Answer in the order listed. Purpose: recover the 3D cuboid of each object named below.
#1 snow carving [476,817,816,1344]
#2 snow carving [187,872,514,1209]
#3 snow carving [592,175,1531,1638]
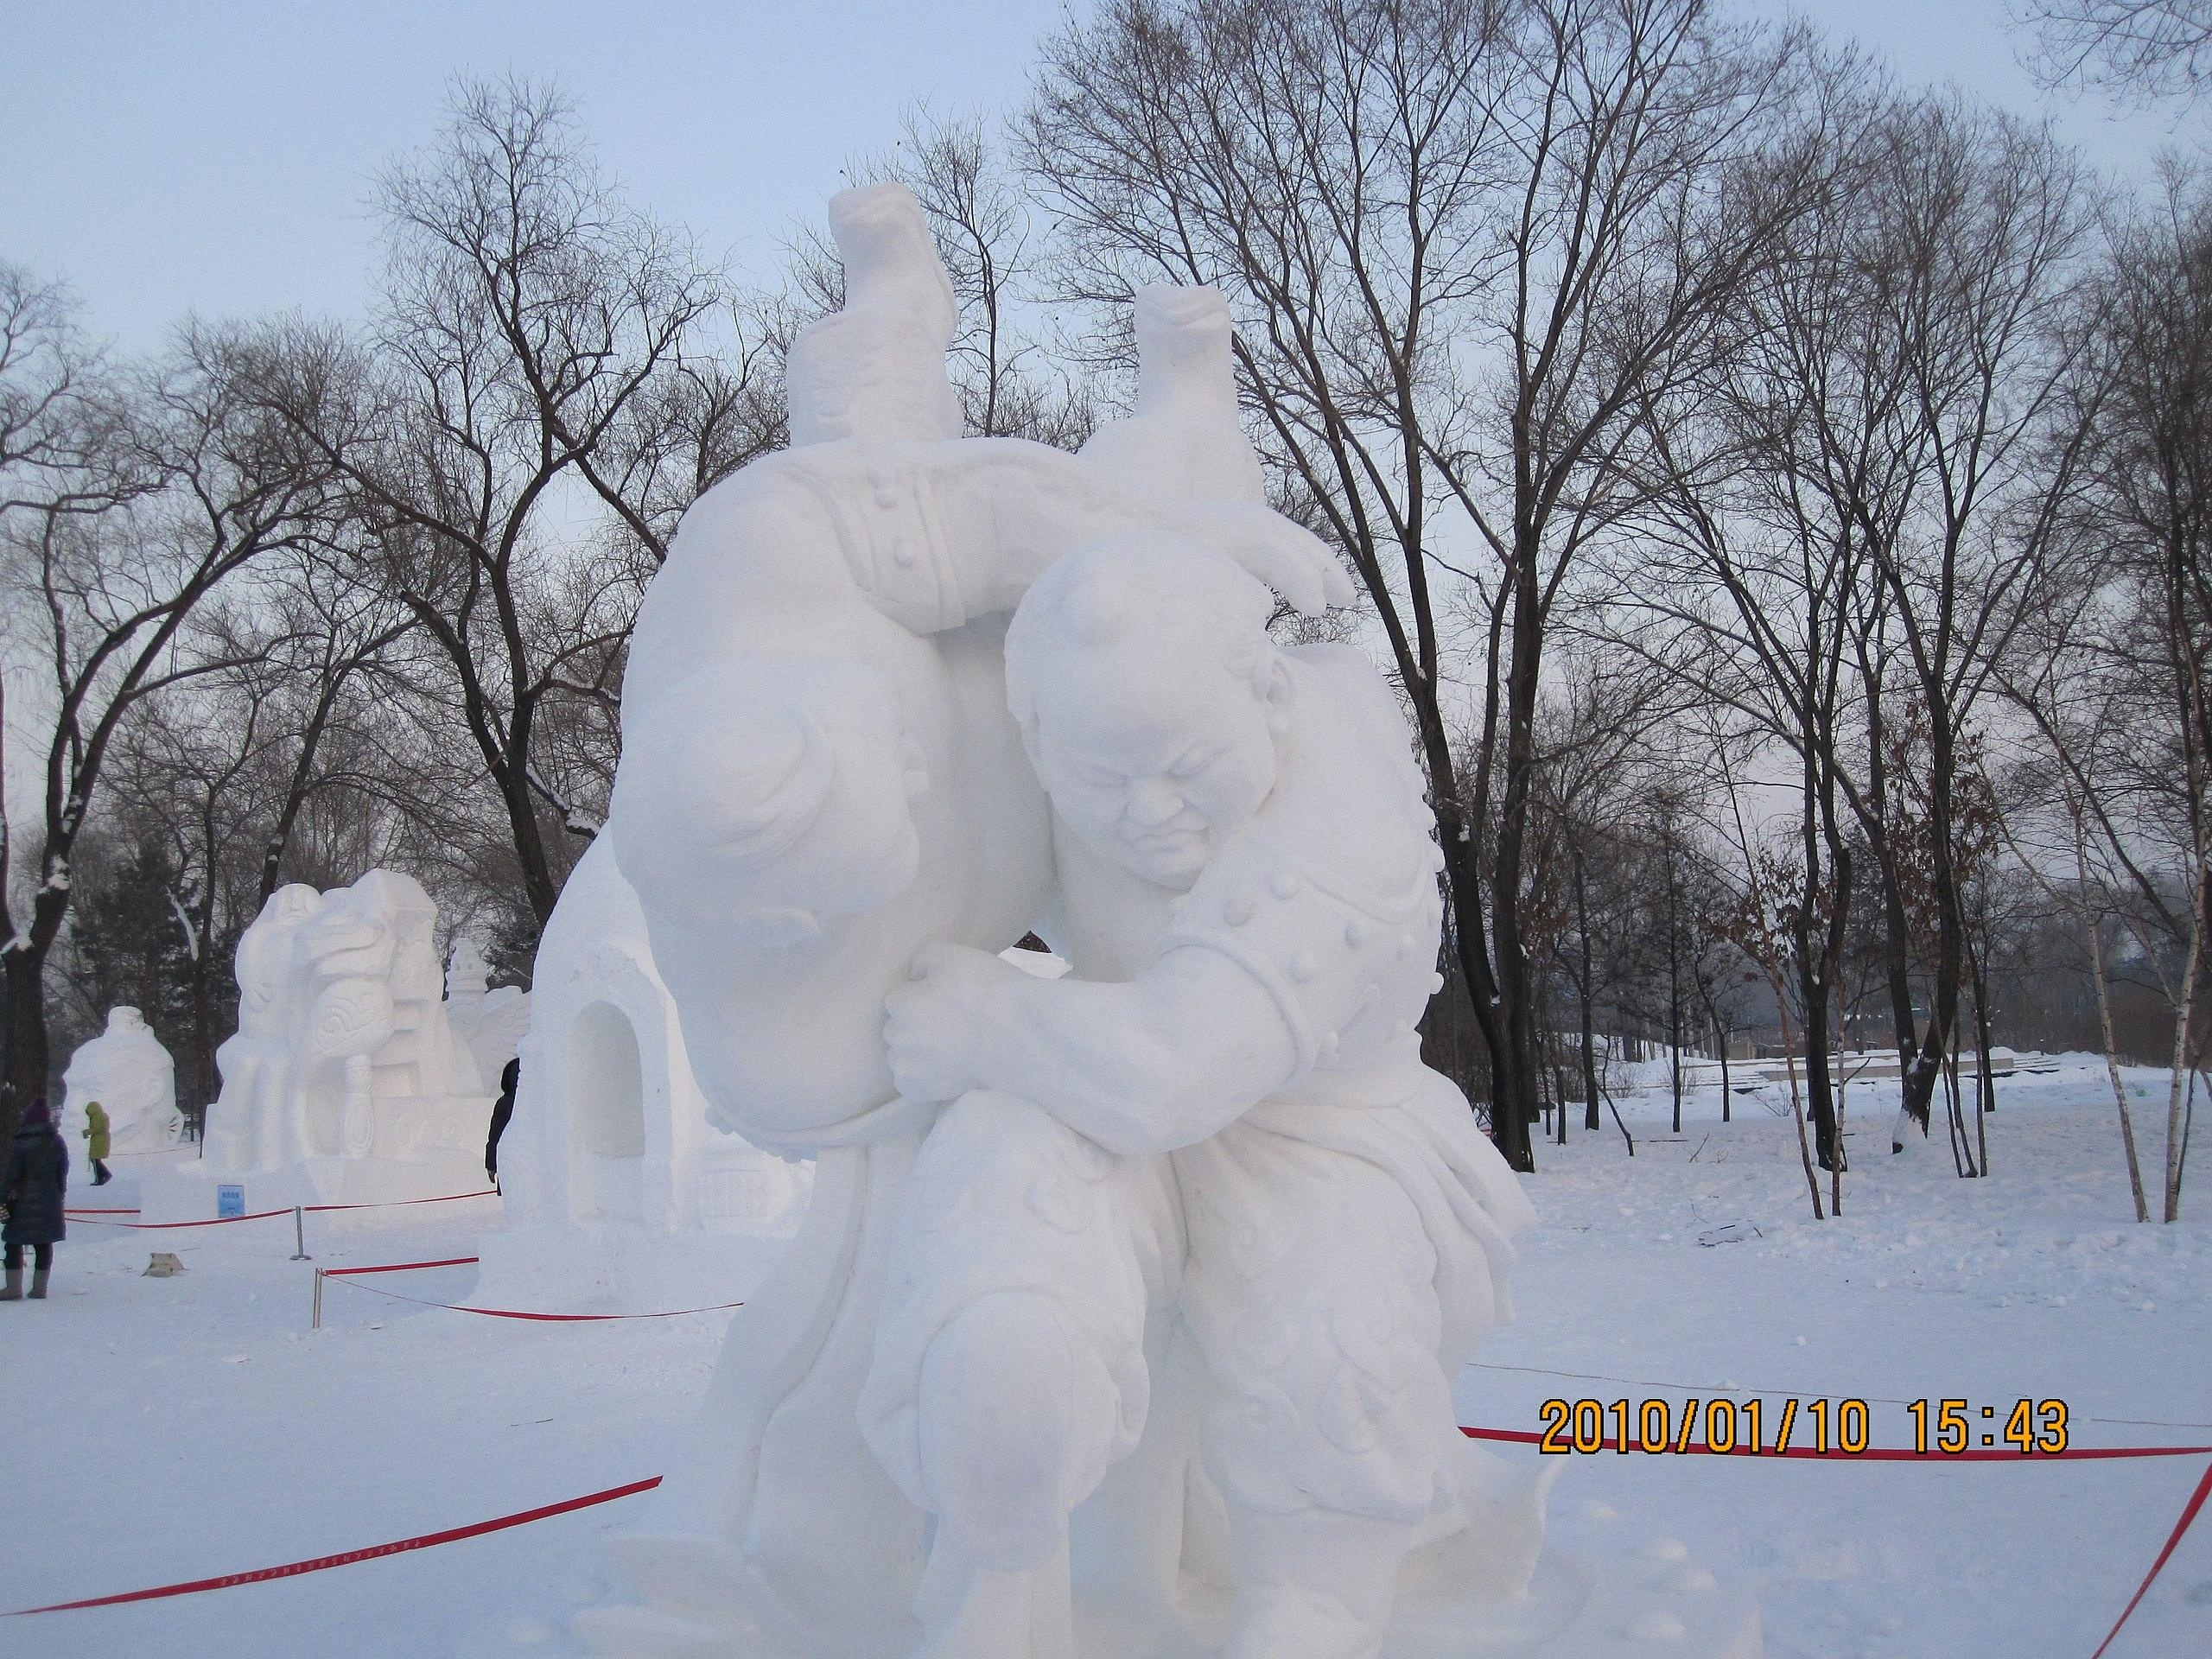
[{"bbox_3d":[-2.359,1.479,10.477,1.432,3.216,1.532,3,4,32],"label":"snow carving"},{"bbox_3d":[-5.866,1.758,15.195,1.508,3.013,1.717,4,4,37],"label":"snow carving"},{"bbox_3d":[-0.166,0.167,5.723,2.443,4.491,0.899,-1,-6,1],"label":"snow carving"}]
